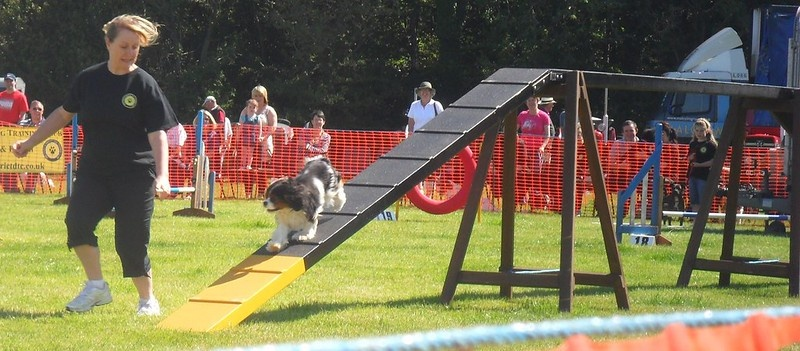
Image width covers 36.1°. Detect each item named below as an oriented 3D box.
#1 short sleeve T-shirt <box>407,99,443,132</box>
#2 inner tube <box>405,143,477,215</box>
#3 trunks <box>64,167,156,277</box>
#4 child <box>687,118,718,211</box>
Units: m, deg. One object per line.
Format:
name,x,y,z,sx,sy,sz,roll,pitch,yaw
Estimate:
short sleeve T-shirt,0.986,-2.436,48.709,1.484,1.228,0.780,1,14,6
inner tube,1.827,0.195,45.990,2.597,2.585,1.335,4,2,36
trunks,-9.821,1.612,41.653,3.964,4.496,1.815,4,-5,-1
child,12.063,-0.466,48.222,1.016,3.922,1.329,-1,2,-38
